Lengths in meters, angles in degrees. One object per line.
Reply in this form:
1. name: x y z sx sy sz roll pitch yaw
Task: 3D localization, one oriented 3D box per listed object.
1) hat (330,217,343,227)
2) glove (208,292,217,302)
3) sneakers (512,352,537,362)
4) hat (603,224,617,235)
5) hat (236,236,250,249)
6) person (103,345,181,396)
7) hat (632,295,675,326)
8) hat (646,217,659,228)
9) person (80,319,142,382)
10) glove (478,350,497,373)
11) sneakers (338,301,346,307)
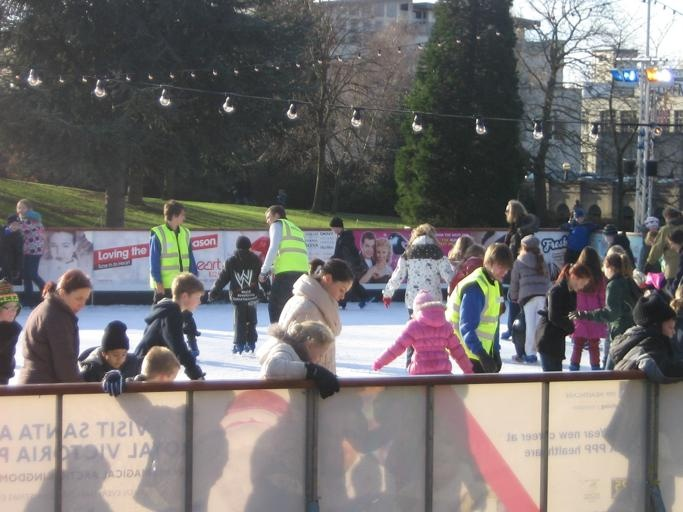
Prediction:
1. hat: -0.154 -0.900 44.124 0.335 0.282 0.597 1 3 -3
2. glove: -3.358 1.064 42.205 0.227 0.311 0.924 1 3 -4
3. sneakers: 4.700 2.701 41.803 0.611 0.327 0.242 6 2 22
4. hat: 7.227 -0.660 43.878 0.259 0.254 0.295 -16 -3 -12
5. hat: -2.574 -0.296 42.132 0.242 0.408 0.338 2 -10 2
6. person: -4.462 2.677 36.530 1.129 0.634 1.192 -18 -2 -14
7. hat: 7.084 1.306 36.996 0.790 0.726 0.614 -26 2 20
8. hat: 8.833 -0.936 46.274 0.282 0.304 0.235 -28 31 -28
9. person: -5.389 2.328 37.542 1.551 1.660 1.089 -2 2 -43
10. glove: 3.415 2.545 38.045 0.463 0.364 0.153 37 8 -15
11. sneakers: 0.010 1.467 47.412 0.135 0.176 0.281 -4 2 -5
